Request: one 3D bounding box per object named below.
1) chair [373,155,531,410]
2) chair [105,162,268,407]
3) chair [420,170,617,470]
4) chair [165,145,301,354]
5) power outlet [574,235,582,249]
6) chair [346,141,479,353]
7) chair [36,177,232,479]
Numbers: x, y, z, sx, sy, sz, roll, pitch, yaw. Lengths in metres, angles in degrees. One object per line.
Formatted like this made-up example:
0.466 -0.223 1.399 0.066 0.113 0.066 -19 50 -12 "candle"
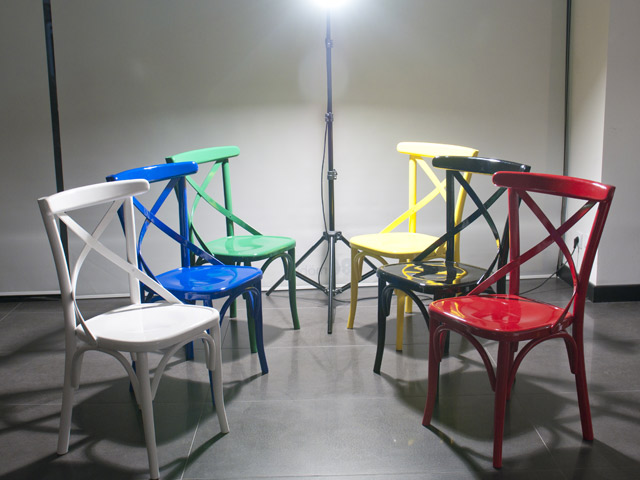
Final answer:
0.617 0.162 2.728 0.576 1.049 0.549 -11 16 -35 "chair"
-0.520 0.193 2.893 0.579 0.994 0.538 5 -4 -36 "chair"
0.804 0.295 2.308 0.579 1.068 0.560 -7 11 -24 "chair"
-0.473 0.041 3.184 0.553 1.060 0.569 8 16 28 "chair"
1.693 0.014 3.725 0.017 0.061 0.041 4 6 -12 "power outlet"
0.512 0.024 3.189 0.570 1.104 0.591 -5 15 -27 "chair"
-0.727 0.325 2.286 0.680 1.131 0.464 -1 6 -4 "chair"
